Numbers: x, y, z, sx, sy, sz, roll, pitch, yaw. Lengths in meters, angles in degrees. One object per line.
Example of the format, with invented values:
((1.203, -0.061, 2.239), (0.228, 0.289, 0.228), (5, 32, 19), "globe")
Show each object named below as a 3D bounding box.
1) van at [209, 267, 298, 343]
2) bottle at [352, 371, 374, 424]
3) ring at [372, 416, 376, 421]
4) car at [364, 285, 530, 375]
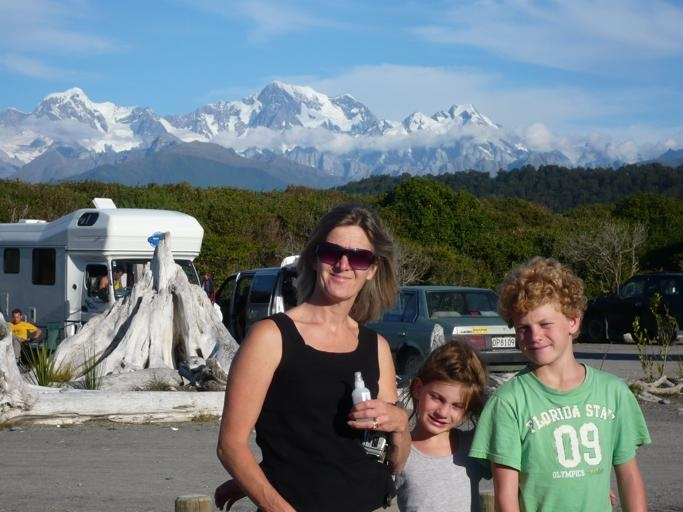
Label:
((-1.046, 0.868, 18.360), (2.047, 1.127, 0.876), (-9, -6, 15), "van")
((0.150, 1.049, 7.423), (0.150, 0.366, 0.192), (0, -1, -8), "bottle")
((0.242, 1.208, 7.364), (0.018, 0.029, 0.027), (-2, -7, -12), "ring")
((1.683, 1.143, 15.159), (1.278, 1.011, 2.276), (-1, 3, -30), "car")
